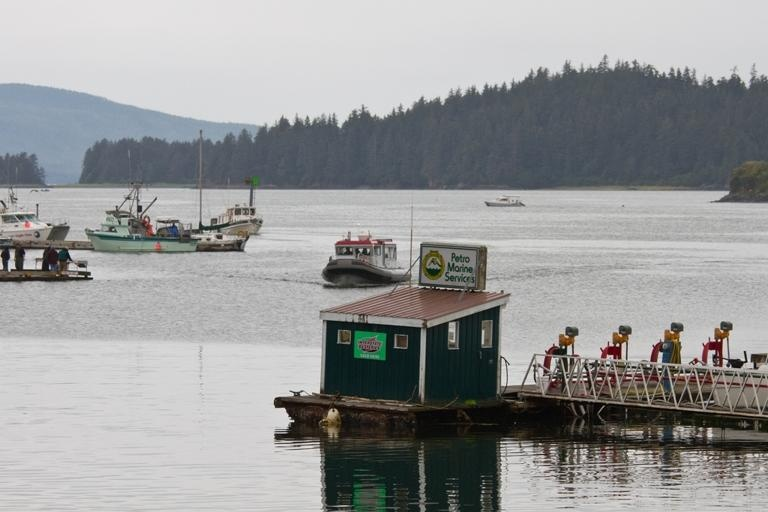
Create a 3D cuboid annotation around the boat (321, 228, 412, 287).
[{"bbox_3d":[-3.737,1.531,504.697,11.923,8.728,20.610,2,3,23],"label":"boat"}]
